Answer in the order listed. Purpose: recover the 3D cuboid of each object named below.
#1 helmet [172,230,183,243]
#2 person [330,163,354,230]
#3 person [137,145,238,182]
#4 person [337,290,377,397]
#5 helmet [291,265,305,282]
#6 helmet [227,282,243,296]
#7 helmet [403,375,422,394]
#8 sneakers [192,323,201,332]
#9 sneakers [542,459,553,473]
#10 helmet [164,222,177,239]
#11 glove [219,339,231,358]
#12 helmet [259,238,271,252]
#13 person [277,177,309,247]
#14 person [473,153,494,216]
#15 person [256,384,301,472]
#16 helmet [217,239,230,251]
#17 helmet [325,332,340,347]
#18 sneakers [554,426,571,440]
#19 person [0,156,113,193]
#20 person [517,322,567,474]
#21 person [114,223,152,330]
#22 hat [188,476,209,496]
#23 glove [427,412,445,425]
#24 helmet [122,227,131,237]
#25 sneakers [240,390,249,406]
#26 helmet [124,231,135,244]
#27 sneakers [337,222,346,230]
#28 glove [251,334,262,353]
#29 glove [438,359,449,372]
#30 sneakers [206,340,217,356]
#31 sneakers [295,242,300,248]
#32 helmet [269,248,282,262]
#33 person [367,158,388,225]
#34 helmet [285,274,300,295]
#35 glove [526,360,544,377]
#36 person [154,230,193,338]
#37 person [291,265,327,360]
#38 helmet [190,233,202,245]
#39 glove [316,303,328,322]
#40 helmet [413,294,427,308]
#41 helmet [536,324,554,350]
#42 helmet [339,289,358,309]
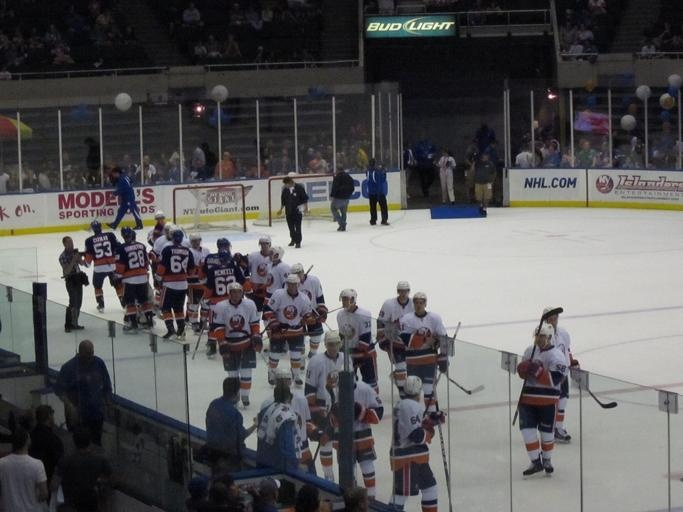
[{"bbox_3d":[-2.669,-0.292,16.453,0.150,0.206,0.196,5,-17,-16],"label":"helmet"},{"bbox_3d":[0.021,-1.436,25.522,0.551,1.716,1.338,-1,10,0],"label":"person"},{"bbox_3d":[-4.205,-2.507,28.073,2.787,0.906,0.392,-6,11,-22],"label":"person"},{"bbox_3d":[0.208,1.153,12.282,0.427,1.492,0.484,-4,5,17],"label":"person"},{"bbox_3d":[-0.624,0.245,14.899,0.163,0.238,0.225,-2,-3,5],"label":"helmet"},{"bbox_3d":[-1.448,0.466,13.796,0.141,0.186,0.187,0,3,-11],"label":"helmet"},{"bbox_3d":[0.836,1.503,11.620,0.224,0.255,0.203,-3,10,-8],"label":"helmet"},{"bbox_3d":[-2.436,1.213,16.961,0.164,0.175,0.106,-3,11,-2],"label":"sneakers"},{"bbox_3d":[2.354,2.401,11.478,0.108,0.130,0.142,0,11,3],"label":"sneakers"},{"bbox_3d":[-2.937,-0.424,17.274,0.221,0.337,0.316,2,-2,-8],"label":"helmet"},{"bbox_3d":[-1.381,1.110,11.988,0.111,0.174,0.049,-2,-20,-6],"label":"glove"},{"bbox_3d":[-1.218,-0.172,16.204,0.167,0.227,0.223,0,-7,0],"label":"helmet"},{"bbox_3d":[-1.084,-1.029,23.256,0.565,1.628,0.786,-2,10,-4],"label":"person"},{"bbox_3d":[3.992,-2.004,28.170,0.581,1.715,1.396,1,10,8],"label":"person"},{"bbox_3d":[-0.741,1.990,11.813,0.497,1.086,0.208,-2,10,-3],"label":"person"},{"bbox_3d":[-1.848,-0.157,15.863,0.165,0.212,0.208,-2,-40,-8],"label":"helmet"},{"bbox_3d":[-0.102,1.017,12.202,0.135,0.175,0.178,1,-15,-6],"label":"helmet"},{"bbox_3d":[2.519,2.047,11.511,0.058,0.151,0.272,-5,12,-23],"label":"sneakers"},{"bbox_3d":[-7.693,-2.055,26.603,2.615,0.730,0.402,-7,12,-30],"label":"person"},{"bbox_3d":[2.348,1.676,11.799,0.530,1.456,1.146,1,11,13],"label":"person"},{"bbox_3d":[-3.409,0.402,16.835,0.412,1.739,0.572,8,13,42],"label":"person"},{"bbox_3d":[-1.530,2.494,10.916,0.218,0.178,0.375,4,-15,4],"label":"hat"},{"bbox_3d":[1.090,1.875,11.659,0.124,0.189,0.132,-5,0,8],"label":"glove"},{"bbox_3d":[-3.560,-0.392,16.756,0.155,0.165,0.198,-4,11,-14],"label":"helmet"},{"bbox_3d":[-1.140,1.699,11.942,0.101,0.152,0.143,-1,0,-7],"label":"sneakers"},{"bbox_3d":[-3.498,-0.325,16.768,0.138,0.200,0.201,4,42,-11],"label":"helmet"},{"bbox_3d":[0.026,-0.738,25.735,0.095,0.209,0.290,-6,15,-27],"label":"sneakers"},{"bbox_3d":[-1.006,1.068,12.167,0.154,0.242,0.128,-1,-25,-3],"label":"glove"},{"bbox_3d":[1.188,1.287,11.753,0.096,0.141,0.038,1,-36,17],"label":"glove"},{"bbox_3d":[-1.517,1.110,11.962,0.173,0.167,0.096,8,13,39],"label":"sneakers"},{"bbox_3d":[-0.999,-0.228,23.143,0.106,0.114,0.068,-1,9,-2],"label":"sneakers"},{"bbox_3d":[-1.016,-0.013,15.877,0.191,0.198,0.154,28,-22,-23],"label":"helmet"},{"bbox_3d":[0.958,-1.659,26.356,0.555,1.820,1.361,0,10,3],"label":"person"},{"bbox_3d":[-0.689,0.421,14.412,0.187,0.280,0.264,0,1,-1],"label":"helmet"},{"bbox_3d":[2.232,1.318,11.669,0.175,0.094,0.251,8,6,3],"label":"glove"},{"bbox_3d":[-2.687,0.458,16.527,0.619,1.728,0.613,-8,12,-35],"label":"person"},{"bbox_3d":[-0.481,0.847,15.085,0.664,1.495,0.420,0,9,26],"label":"person"},{"bbox_3d":[-2.454,-0.292,16.997,0.133,0.145,0.175,-1,-1,-8],"label":"helmet"},{"bbox_3d":[-0.301,0.832,14.871,0.091,0.226,0.152,6,2,-40],"label":"glove"},{"bbox_3d":[1.033,0.577,13.255,0.117,0.148,0.172,-1,-4,8],"label":"helmet"},{"bbox_3d":[2.454,0.984,12.312,0.203,0.286,0.278,-1,-7,32],"label":"helmet"},{"bbox_3d":[0.090,0.595,13.698,0.263,0.322,0.226,0,2,-39],"label":"helmet"}]
